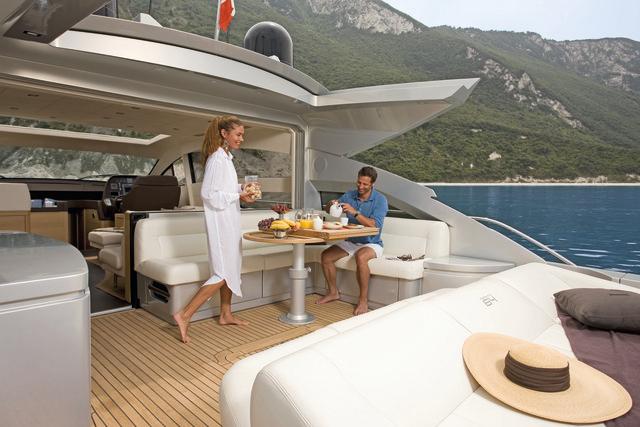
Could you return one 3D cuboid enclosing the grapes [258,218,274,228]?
[{"bbox_3d":[-0.532,0.100,3.662,0.109,0.056,0.134,-5,12,-6],"label":"grapes"}]

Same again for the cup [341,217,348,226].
[{"bbox_3d":[0.263,0.091,3.843,0.085,0.069,0.070,-1,5,-25],"label":"cup"}]

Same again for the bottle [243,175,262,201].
[{"bbox_3d":[-0.602,-0.220,3.327,0.133,0.228,0.273,-3,12,-11],"label":"bottle"}]

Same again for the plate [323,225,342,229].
[{"bbox_3d":[0.127,0.132,3.660,0.173,0.044,0.080,0,12,2],"label":"plate"}]

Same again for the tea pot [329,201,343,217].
[{"bbox_3d":[0.165,-0.037,3.797,0.101,0.152,0.113,-7,15,-30],"label":"tea pot"}]

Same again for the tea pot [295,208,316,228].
[{"bbox_3d":[-0.184,0.063,3.809,0.264,0.212,0.162,0,-3,11],"label":"tea pot"}]

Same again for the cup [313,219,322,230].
[{"bbox_3d":[-0.012,0.099,3.629,0.091,0.109,0.126,0,12,2],"label":"cup"}]

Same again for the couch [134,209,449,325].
[{"bbox_3d":[-0.749,0.530,3.719,2.197,0.718,1.560,2,-3,-39],"label":"couch"}]

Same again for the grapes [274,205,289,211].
[{"bbox_3d":[-0.388,-0.045,3.647,0.083,0.035,0.089,2,-2,42],"label":"grapes"}]

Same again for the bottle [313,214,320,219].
[{"bbox_3d":[-0.025,0.036,3.652,0.049,0.038,0.045,0,-2,0],"label":"bottle"}]

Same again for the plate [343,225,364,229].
[{"bbox_3d":[0.338,0.140,3.669,0.195,0.022,0.150,0,11,0],"label":"plate"}]

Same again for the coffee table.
[{"bbox_3d":[-0.195,0.644,3.724,0.980,0.823,0.893,5,-7,-39],"label":"coffee table"}]
